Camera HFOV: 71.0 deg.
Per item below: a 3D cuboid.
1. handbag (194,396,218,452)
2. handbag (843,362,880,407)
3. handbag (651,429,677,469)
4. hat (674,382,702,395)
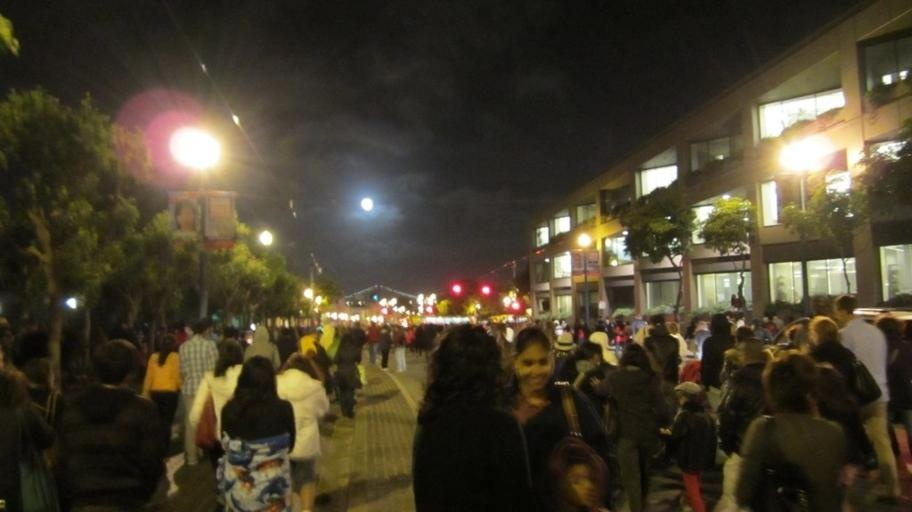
[{"bbox_3d":[-5.119,3.442,13.210,0.529,1.071,0.175,-4,-9,20],"label":"handbag"},{"bbox_3d":[8.411,2.720,13.321,0.616,0.950,0.816,-18,1,38],"label":"handbag"},{"bbox_3d":[4.595,4.192,14.079,0.497,0.909,1.060,-3,-9,18],"label":"handbag"},{"bbox_3d":[5.095,2.931,14.024,0.533,0.302,0.288,-3,-9,14],"label":"hat"}]
